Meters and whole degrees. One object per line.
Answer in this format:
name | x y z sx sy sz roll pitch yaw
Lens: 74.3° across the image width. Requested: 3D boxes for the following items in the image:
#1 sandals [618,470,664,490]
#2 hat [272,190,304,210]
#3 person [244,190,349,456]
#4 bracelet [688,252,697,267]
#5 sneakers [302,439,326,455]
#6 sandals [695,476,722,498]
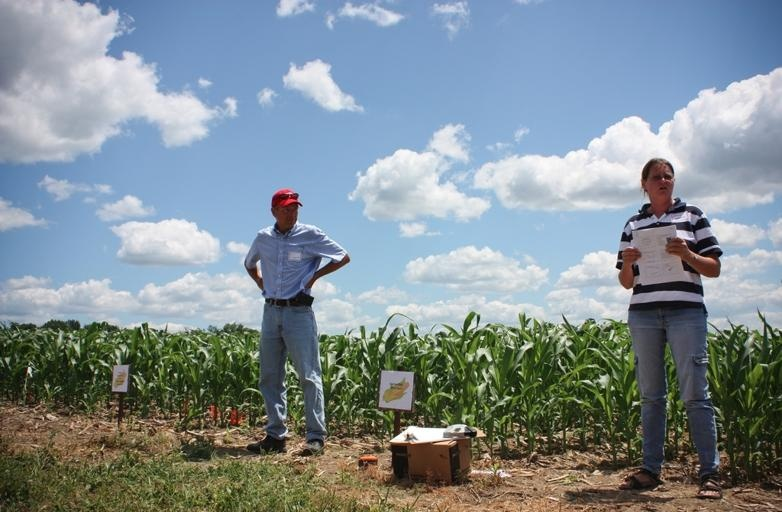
sandals | 2.477 2.243 5.189 0.458 0.182 0.166 4 -12 -10
hat | -1.264 -0.731 6.243 0.296 0.215 0.609 0 -9 -17
person | -1.247 0.783 6.382 1.204 3.164 0.562 -6 -10 24
bracelet | 2.923 0.027 4.995 0.029 0.105 0.104 9 0 8
sneakers | -0.902 2.242 6.040 0.273 0.156 0.180 1 -10 -21
sandals | 3.042 2.209 4.937 0.257 0.194 0.187 -5 -9 14
